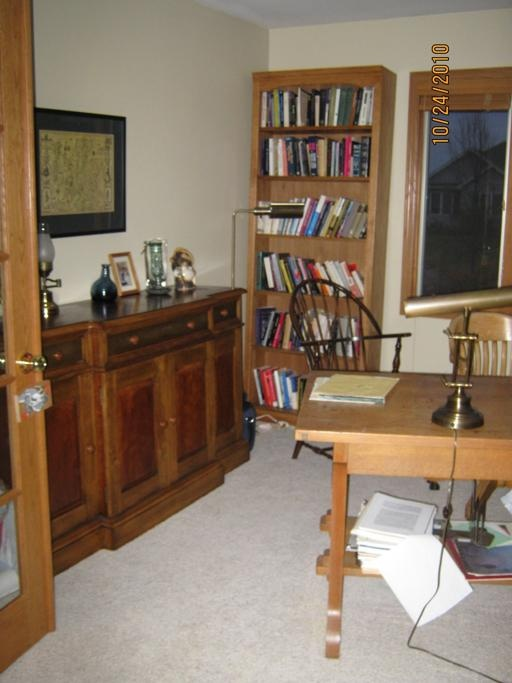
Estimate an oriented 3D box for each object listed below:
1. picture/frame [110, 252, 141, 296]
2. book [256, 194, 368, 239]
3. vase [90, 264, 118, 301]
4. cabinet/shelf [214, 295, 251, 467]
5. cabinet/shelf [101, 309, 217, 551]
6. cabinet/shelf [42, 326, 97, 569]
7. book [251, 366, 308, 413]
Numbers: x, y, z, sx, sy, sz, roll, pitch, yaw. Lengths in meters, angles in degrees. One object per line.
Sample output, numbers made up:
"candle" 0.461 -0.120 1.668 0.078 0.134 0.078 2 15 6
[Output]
"picture/frame" -0.686 -0.347 2.909 0.027 0.247 0.213 -12 11 27
"book" 0.382 -0.864 3.973 0.797 0.287 0.183 3 7 20
"vase" -0.739 -0.282 2.733 0.121 0.182 0.174 -1 7 -13
"cabinet/shelf" -0.153 0.239 3.262 0.094 1.048 0.363 3 7 20
"cabinet/shelf" -0.467 0.416 2.598 0.329 1.017 0.841 4 15 21
"cabinet/shelf" -0.733 0.433 2.253 0.079 0.948 0.323 2 7 16
"book" 0.173 0.356 4.135 0.306 0.363 0.378 -13 21 -39
